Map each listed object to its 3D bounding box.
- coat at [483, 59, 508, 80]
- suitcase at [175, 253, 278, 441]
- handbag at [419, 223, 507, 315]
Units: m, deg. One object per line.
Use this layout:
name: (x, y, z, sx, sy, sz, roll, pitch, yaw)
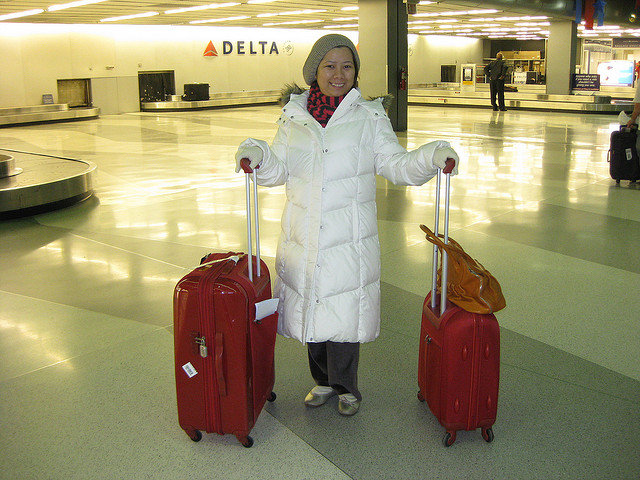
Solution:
coat: (6.942, -6.690, 18.847, 0.499, 0.768, 0.970, -3, 15, -4)
suitcase: (-0.436, 0.516, 2.246, 0.500, 0.879, 0.358, -6, 16, -17)
handbag: (0.885, 0.176, 2.956, 0.279, 0.523, 0.522, -42, 36, -13)
